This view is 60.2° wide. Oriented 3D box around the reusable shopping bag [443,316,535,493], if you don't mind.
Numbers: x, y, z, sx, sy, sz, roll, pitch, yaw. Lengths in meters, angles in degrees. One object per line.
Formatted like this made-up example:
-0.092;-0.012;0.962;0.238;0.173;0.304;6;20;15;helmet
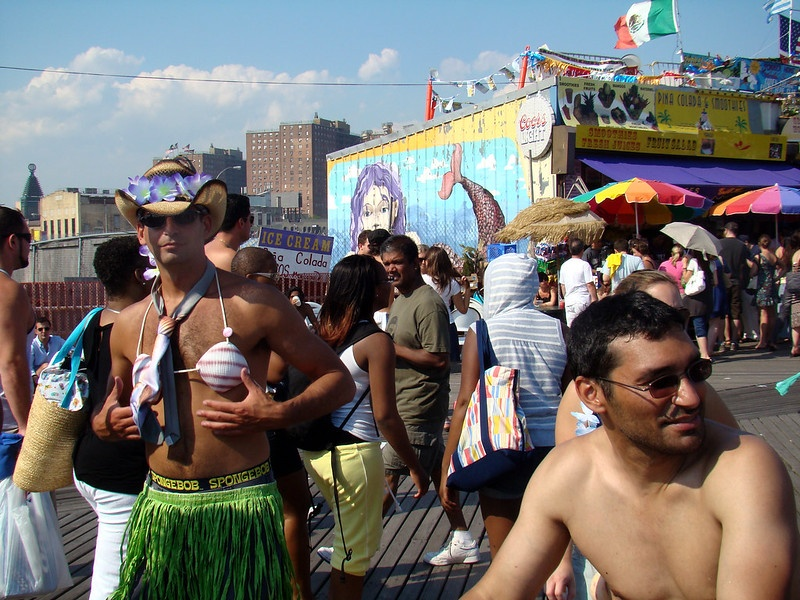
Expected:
0.461;0.550;3.486;0.243;1.037;0.629;15;-34;-26;reusable shopping bag

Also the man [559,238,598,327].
2.592;-0.116;10.081;0.496;1.562;0.420;13;31;38;man

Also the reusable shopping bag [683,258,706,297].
4.179;-0.290;9.842;0.184;0.640;0.422;-1;-5;-24;reusable shopping bag

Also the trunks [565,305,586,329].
1.450;0.123;5.739;0.109;0.241;0.221;-3;11;-21;trunks

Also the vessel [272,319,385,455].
-0.315;0.416;3.234;0.343;0.730;0.477;28;-24;-38;vessel

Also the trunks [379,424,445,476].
0.076;0.943;4.343;0.467;0.462;0.299;0;-9;-5;trunks

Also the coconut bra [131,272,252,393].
-0.736;0.142;2.626;0.252;0.380;0.138;-13;-21;33;coconut bra

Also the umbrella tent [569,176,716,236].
4.392;-1.736;12.568;1.221;0.679;1.436;-3;15;6;umbrella tent

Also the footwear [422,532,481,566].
0.341;1.586;4.453;0.395;0.298;0.164;0;-1;4;footwear

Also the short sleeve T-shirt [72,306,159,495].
-1.426;0.455;3.271;0.312;0.802;0.255;7;12;-34;short sleeve T-shirt

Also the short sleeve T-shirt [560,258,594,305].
2.513;-0.231;9.829;0.558;0.819;0.321;3;8;37;short sleeve T-shirt

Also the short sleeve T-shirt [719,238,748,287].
5.328;-0.587;11.082;0.590;0.840;0.440;3;11;35;short sleeve T-shirt
